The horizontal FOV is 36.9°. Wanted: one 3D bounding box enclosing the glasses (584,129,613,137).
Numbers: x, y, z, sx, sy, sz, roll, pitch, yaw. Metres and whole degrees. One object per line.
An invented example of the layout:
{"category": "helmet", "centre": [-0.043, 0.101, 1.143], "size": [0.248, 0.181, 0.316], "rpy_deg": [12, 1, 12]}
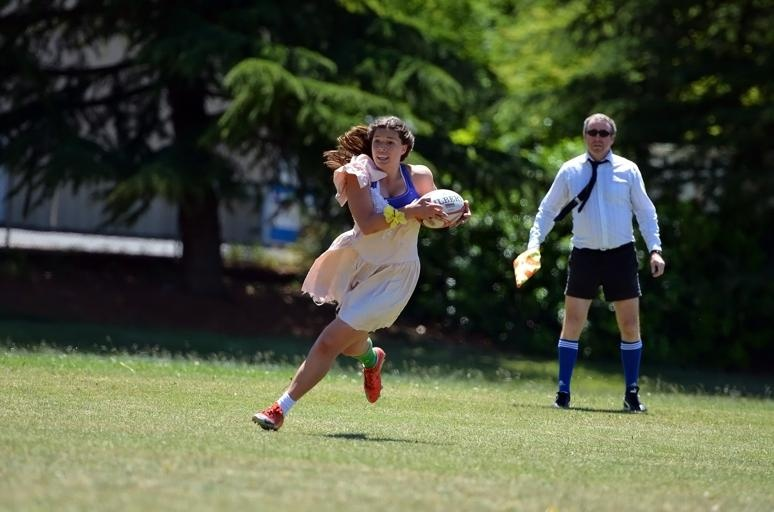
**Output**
{"category": "glasses", "centre": [2.381, -1.382, 13.112], "size": [0.270, 0.090, 0.059], "rpy_deg": [3, -8, 10]}

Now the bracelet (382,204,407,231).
{"category": "bracelet", "centre": [0.054, -0.383, 11.364], "size": [0.201, 0.212, 0.074], "rpy_deg": [18, -22, -4]}
